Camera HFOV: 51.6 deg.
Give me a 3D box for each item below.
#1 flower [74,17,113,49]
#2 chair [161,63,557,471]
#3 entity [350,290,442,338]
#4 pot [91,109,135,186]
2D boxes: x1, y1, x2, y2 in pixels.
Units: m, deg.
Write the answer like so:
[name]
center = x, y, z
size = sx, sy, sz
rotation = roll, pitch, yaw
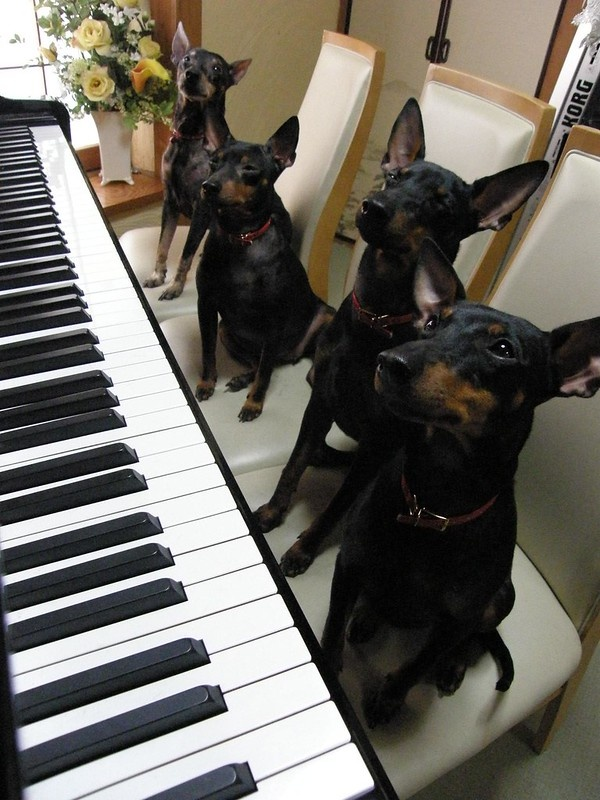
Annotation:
[flower]
center = -0.797, -1.398, 2.385
size = 0.136, 0.108, 0.128
rotation = 1, 40, -18
[chair]
center = 0.259, -0.254, 1.130
size = 0.242, 0.409, 0.601
rotation = 40, 28, 24
[entity]
center = 0.135, -0.130, 1.011
size = 0.083, 0.026, 0.075
rotation = -25, 57, -19
[pot]
center = -0.839, -1.094, 2.831
size = 0.209, 0.266, 0.191
rotation = -5, -1, 0
